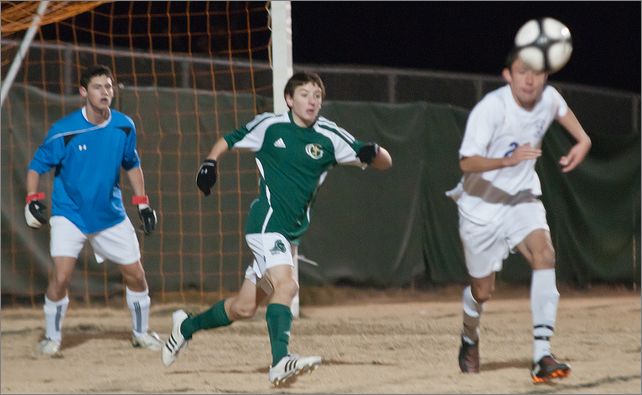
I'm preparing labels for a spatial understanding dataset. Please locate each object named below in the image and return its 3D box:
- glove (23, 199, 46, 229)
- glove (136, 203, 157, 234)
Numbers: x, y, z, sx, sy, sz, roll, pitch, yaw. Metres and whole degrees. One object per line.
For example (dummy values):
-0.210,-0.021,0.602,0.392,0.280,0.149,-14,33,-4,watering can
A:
-3.749,0.198,11.832,0.288,0.405,0.154,-9,0,-7,glove
-2.355,0.294,12.145,0.297,0.374,0.144,-4,1,-22,glove
